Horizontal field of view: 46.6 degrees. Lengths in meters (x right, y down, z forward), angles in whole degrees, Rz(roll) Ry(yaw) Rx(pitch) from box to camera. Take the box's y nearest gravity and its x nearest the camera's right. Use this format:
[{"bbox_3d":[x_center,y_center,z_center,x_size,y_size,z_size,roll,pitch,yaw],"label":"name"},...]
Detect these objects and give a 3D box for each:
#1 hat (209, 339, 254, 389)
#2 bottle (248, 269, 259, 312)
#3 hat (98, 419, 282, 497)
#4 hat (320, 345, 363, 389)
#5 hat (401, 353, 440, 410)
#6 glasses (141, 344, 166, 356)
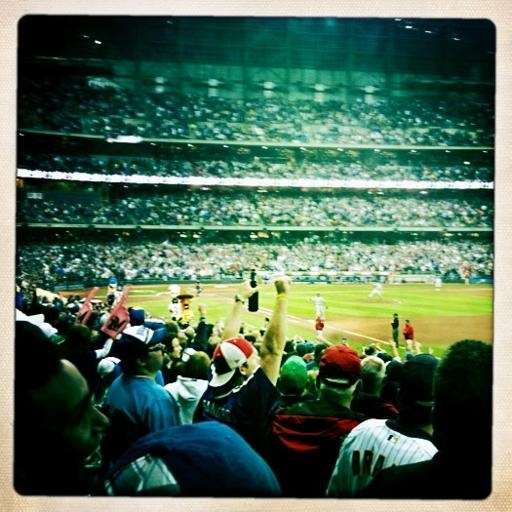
[{"bbox_3d":[-0.224,0.953,5.284,0.342,0.420,0.191,2,5,-42],"label":"hat"},{"bbox_3d":[-0.018,0.337,5.880,0.118,0.256,0.352,6,3,-1],"label":"bottle"},{"bbox_3d":[-0.470,1.690,4.820,1.222,0.347,0.732,3,-12,-5],"label":"hat"},{"bbox_3d":[0.720,0.945,5.084,0.349,0.320,0.402,1,-14,10],"label":"hat"},{"bbox_3d":[1.285,0.984,4.652,0.326,0.359,0.398,5,15,21],"label":"hat"},{"bbox_3d":[-0.885,0.800,5.060,0.207,0.058,0.134,-1,-3,5],"label":"glasses"}]
